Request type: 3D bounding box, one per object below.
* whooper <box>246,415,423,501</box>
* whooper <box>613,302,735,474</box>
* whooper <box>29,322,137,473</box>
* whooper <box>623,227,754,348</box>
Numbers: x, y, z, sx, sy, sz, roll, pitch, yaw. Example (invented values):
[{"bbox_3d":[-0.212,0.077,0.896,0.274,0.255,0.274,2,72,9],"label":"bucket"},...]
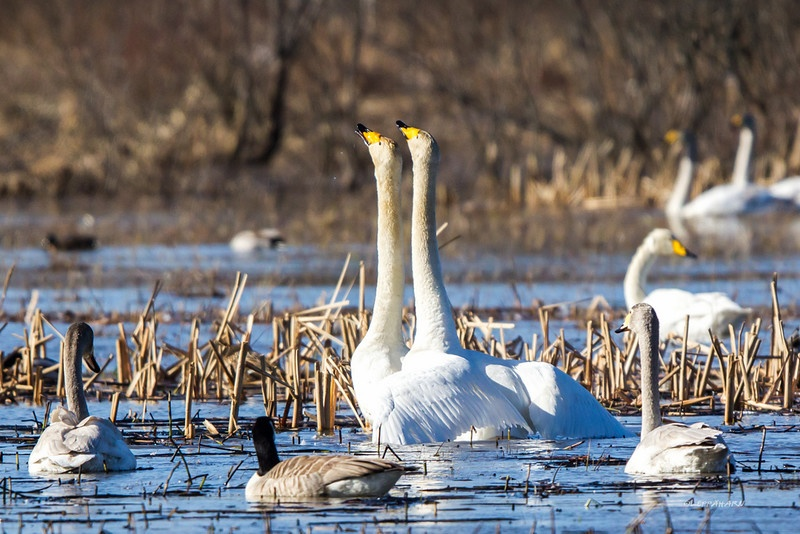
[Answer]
[{"bbox_3d":[-0.723,1.957,14.153,2.272,1.069,0.809,-14,-20,40],"label":"whooper"},{"bbox_3d":[2.817,1.250,14.532,1.066,1.838,0.657,-8,-13,27],"label":"whooper"},{"bbox_3d":[-3.329,1.707,15.268,0.794,1.446,1.851,1,-8,-16],"label":"whooper"},{"bbox_3d":[4.089,0.269,20.624,1.733,1.603,0.701,3,18,-1],"label":"whooper"}]
